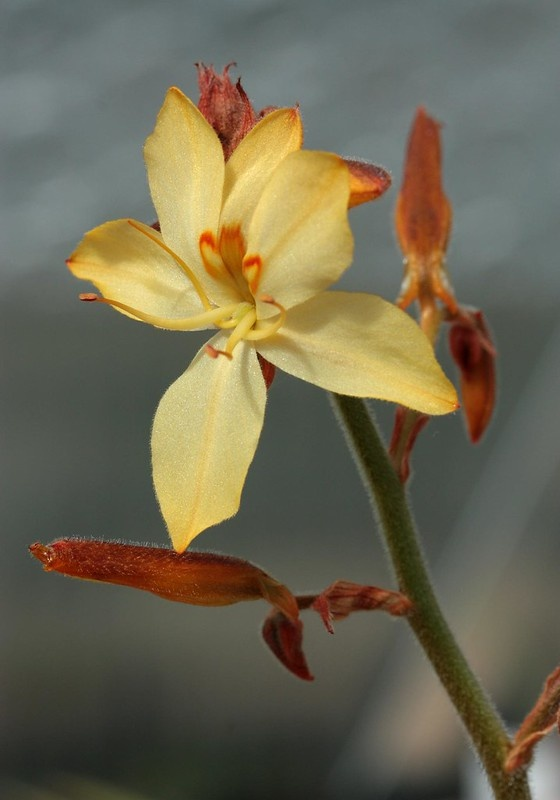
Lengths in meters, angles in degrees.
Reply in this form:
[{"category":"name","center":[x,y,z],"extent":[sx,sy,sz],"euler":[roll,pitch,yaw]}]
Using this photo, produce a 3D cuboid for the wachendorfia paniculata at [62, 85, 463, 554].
[{"category":"wachendorfia paniculata","center":[0.008,-0.060,0.539],"extent":[0.275,0.231,0.095],"euler":[14,24,23]}]
